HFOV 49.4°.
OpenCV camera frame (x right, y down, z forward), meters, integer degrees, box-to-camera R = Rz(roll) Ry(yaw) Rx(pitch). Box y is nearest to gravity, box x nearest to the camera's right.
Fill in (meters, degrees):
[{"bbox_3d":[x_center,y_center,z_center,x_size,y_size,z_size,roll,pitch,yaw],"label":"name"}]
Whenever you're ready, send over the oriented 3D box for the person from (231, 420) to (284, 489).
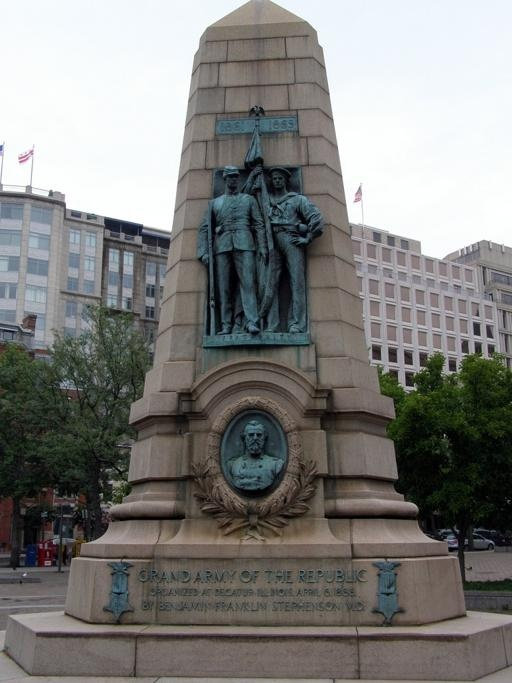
[{"bbox_3d":[0.033,1.382,6.718,0.699,0.970,0.378,-3,-41,5],"label":"person"}]
